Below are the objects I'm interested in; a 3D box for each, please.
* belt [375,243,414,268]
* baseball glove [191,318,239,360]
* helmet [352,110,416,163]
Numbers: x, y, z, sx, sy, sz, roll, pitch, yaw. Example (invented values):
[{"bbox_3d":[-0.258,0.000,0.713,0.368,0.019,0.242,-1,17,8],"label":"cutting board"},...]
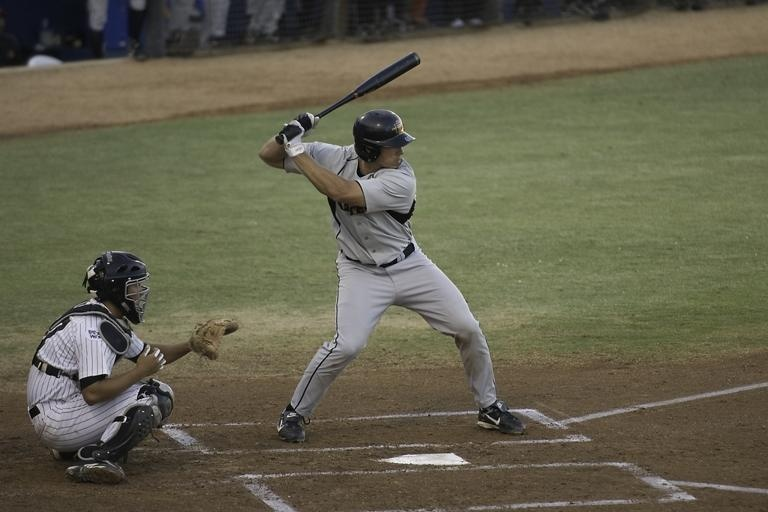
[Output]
[{"bbox_3d":[0.171,0.004,14.650,0.301,0.077,0.243,-25,12,12],"label":"belt"},{"bbox_3d":[-1.819,0.802,14.459,0.393,0.389,0.801,5,-6,-17],"label":"baseball glove"},{"bbox_3d":[0.022,-1.137,14.597,0.551,0.480,0.212,0,10,-1],"label":"helmet"}]
